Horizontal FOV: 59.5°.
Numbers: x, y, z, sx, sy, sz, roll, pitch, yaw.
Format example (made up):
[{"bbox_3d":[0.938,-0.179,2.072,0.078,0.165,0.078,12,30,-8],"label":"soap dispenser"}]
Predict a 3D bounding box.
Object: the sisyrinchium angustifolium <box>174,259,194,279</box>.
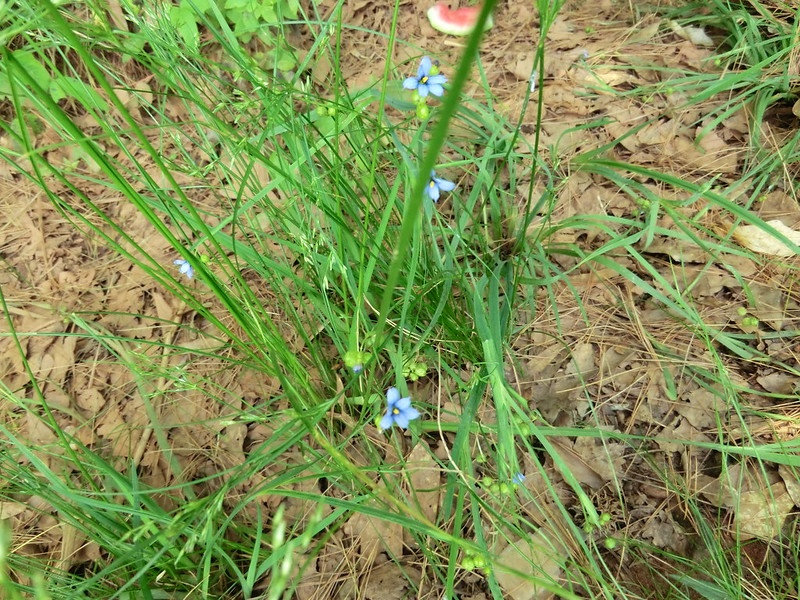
[{"bbox_3d":[-1.071,-0.157,3.470,0.032,0.093,0.091,-47,35,9],"label":"sisyrinchium angustifolium"}]
